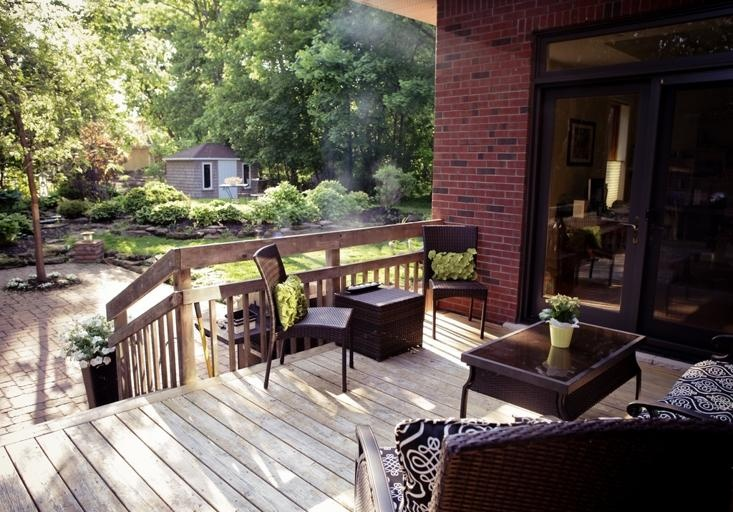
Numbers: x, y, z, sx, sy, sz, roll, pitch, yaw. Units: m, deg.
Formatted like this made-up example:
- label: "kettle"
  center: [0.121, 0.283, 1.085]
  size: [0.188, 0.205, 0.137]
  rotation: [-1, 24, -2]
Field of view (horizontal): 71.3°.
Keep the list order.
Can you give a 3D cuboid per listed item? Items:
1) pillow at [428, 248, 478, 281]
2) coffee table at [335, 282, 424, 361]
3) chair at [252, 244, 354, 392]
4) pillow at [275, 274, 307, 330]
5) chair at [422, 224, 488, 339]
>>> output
- label: "pillow"
  center: [0.939, 0.091, 5.696]
  size: [0.537, 0.328, 0.244]
  rotation: [1, 12, 6]
- label: "coffee table"
  center: [0.131, 0.648, 5.062]
  size: [0.714, 0.514, 0.701]
  rotation: [-11, 17, -37]
- label: "chair"
  center: [-0.512, 0.504, 4.431]
  size: [0.815, 1.071, 0.670]
  rotation: [1, 9, 10]
- label: "pillow"
  center: [-0.663, 0.381, 4.393]
  size: [0.190, 0.398, 0.559]
  rotation: [-2, 9, 14]
- label: "chair"
  center: [0.963, 0.274, 5.600]
  size: [0.822, 1.103, 0.827]
  rotation: [-8, 15, -32]
